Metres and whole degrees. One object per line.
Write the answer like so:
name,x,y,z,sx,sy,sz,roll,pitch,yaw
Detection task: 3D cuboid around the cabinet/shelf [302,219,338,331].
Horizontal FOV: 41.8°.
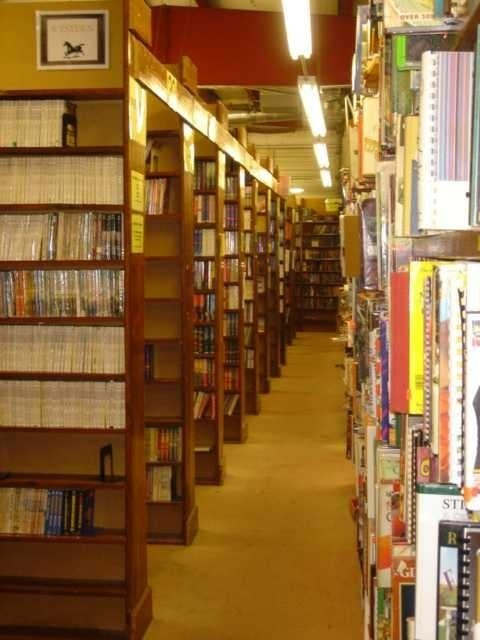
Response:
cabinet/shelf,2.054,-1.177,16.153,0.854,2.911,0.297,2,24,9
